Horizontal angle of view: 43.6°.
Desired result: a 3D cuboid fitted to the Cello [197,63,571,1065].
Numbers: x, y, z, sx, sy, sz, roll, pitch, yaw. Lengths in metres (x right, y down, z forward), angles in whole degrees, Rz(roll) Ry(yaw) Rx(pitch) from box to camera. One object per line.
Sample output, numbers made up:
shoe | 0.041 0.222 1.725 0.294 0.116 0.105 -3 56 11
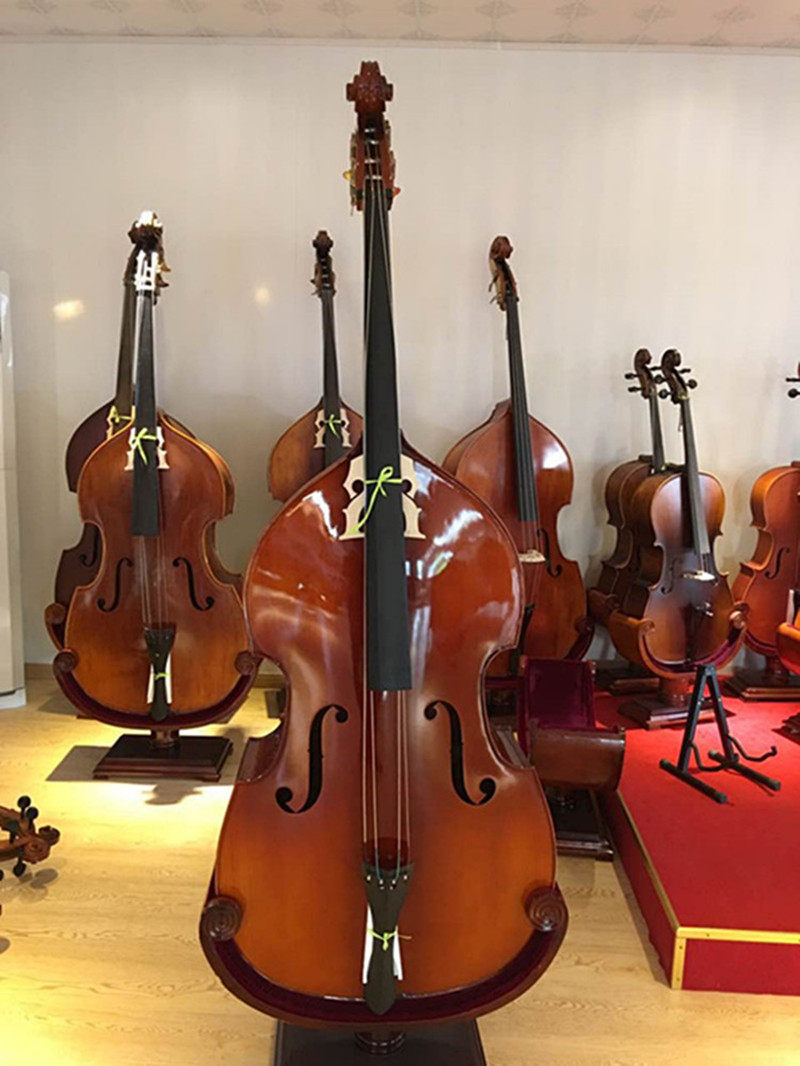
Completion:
Cello | -0.046 0.102 2.015 0.704 1.970 0.567 -1 14 1

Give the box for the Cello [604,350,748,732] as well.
Cello | 1.038 0.015 3.795 0.473 1.367 0.418 -5 14 -12
